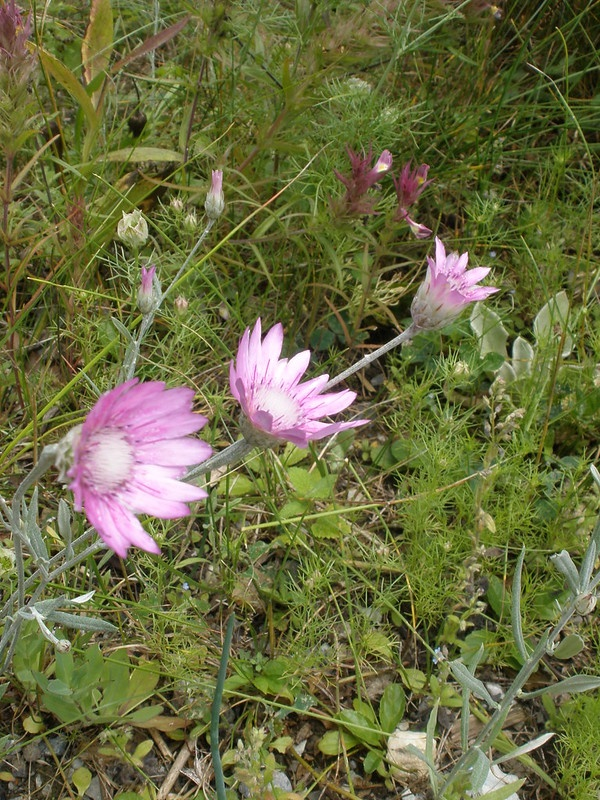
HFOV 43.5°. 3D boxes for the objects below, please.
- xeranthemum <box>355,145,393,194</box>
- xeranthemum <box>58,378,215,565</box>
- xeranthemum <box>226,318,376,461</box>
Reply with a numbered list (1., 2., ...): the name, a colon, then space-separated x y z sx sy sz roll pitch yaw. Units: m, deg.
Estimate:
1. xeranthemum: 0.176 -0.521 1.702 0.050 0.052 0.152 41 41 -2
2. xeranthemum: -0.221 0.086 0.943 0.125 0.205 0.230 16 31 25
3. xeranthemum: -0.028 -0.009 1.169 0.209 0.098 0.228 56 24 10
